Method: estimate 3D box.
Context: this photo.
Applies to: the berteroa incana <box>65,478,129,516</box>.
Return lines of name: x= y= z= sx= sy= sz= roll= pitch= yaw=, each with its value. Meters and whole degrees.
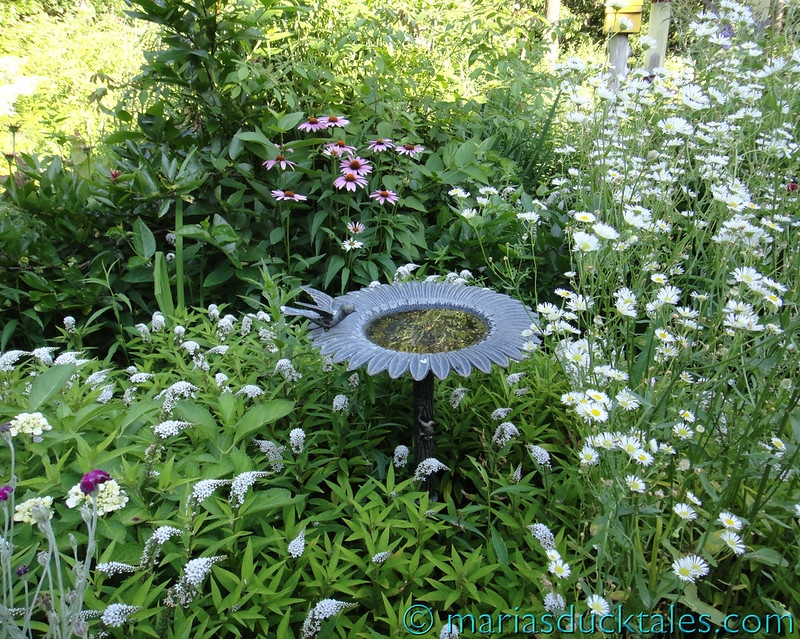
berteroa incana: x=-0.869 y=0.513 z=1.902 sx=0.143 sy=0.093 sz=0.146 roll=13 pitch=0 yaw=41

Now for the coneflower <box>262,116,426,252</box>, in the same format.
coneflower: x=-0.277 y=-0.658 z=3.561 sx=0.764 sy=0.534 sz=0.798 roll=1 pitch=33 yaw=-3

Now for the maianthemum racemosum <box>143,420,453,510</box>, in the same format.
maianthemum racemosum: x=-0.187 y=0.438 z=2.229 sx=1.236 sy=0.376 sz=0.349 roll=1 pitch=4 yaw=-15
